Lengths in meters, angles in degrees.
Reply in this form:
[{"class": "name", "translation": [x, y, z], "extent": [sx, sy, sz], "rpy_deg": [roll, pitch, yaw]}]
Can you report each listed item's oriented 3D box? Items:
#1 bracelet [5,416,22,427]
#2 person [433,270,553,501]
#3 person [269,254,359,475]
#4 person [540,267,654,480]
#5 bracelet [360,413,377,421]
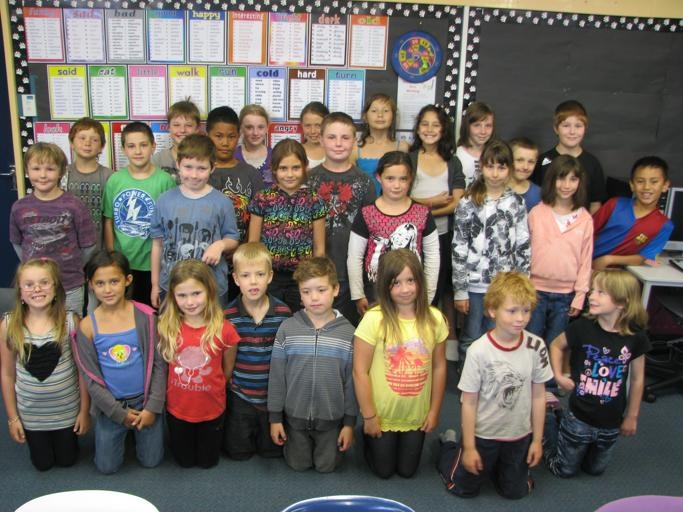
[{"class": "bracelet", "translation": [-1.669, 0.843, 3.115], "extent": [0.047, 0.026, 0.056], "rpy_deg": [-2, 15, 4]}, {"class": "person", "translation": [0.771, 0.651, 3.010], "extent": [0.461, 1.047, 0.536], "rpy_deg": [16, 25, 36]}, {"class": "person", "translation": [-0.132, 0.567, 3.146], "extent": [0.455, 1.037, 0.450], "rpy_deg": [13, 24, 30]}, {"class": "person", "translation": [1.338, 0.611, 3.168], "extent": [0.485, 1.038, 0.401], "rpy_deg": [1, 21, 1]}, {"class": "bracelet", "translation": [0.144, 0.815, 3.077], "extent": [0.072, 0.039, 0.025], "rpy_deg": [-4, 21, -14]}]
